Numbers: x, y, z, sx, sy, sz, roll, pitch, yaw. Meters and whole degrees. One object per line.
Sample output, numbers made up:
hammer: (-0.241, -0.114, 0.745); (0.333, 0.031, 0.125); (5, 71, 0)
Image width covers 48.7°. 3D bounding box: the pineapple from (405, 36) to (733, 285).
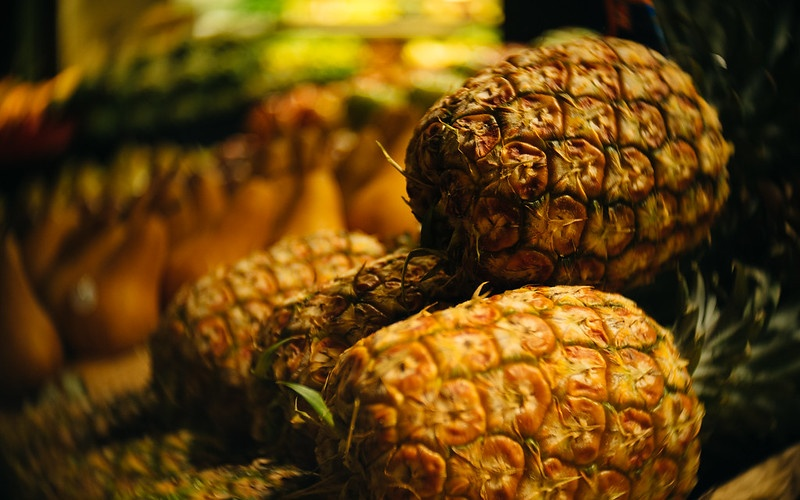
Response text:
pineapple: (0.294, -0.089, 1.283); (0.447, 0.349, 0.336); (-3, 68, 28)
